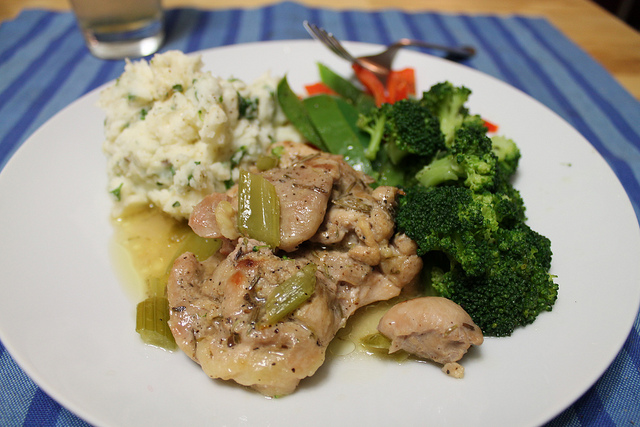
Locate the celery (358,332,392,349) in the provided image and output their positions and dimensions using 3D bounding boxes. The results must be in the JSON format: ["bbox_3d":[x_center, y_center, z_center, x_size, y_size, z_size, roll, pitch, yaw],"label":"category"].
[{"bbox_3d":[0.491,1.160,5.403,0.198,0.057,0.154,4,36,23],"label":"celery"}]

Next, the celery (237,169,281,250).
[{"bbox_3d":[-0.561,-0.038,5.390,0.383,0.216,0.715,-1,78,-7],"label":"celery"}]

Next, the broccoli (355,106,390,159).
[{"bbox_3d":[0.557,-0.893,6.314,0.233,0.575,0.312,14,23,38],"label":"broccoli"}]

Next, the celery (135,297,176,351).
[{"bbox_3d":[-1.461,0.964,5.312,0.403,0.162,0.499,-6,40,-18],"label":"celery"}]

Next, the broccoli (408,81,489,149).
[{"bbox_3d":[1.298,-1.101,6.175,0.740,0.738,0.462,-17,29,-28],"label":"broccoli"}]

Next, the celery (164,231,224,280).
[{"bbox_3d":[-1.225,0.335,5.916,0.576,0.134,0.379,-36,58,-13],"label":"celery"}]

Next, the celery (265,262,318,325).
[{"bbox_3d":[-0.238,0.716,5.254,0.601,0.156,0.257,-39,79,-13],"label":"celery"}]

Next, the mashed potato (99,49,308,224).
[{"bbox_3d":[-1.291,-0.779,6.340,1.729,0.702,1.707,-10,84,-10],"label":"mashed potato"}]

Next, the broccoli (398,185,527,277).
[{"bbox_3d":[1.274,0.123,5.373,0.899,0.512,0.787,20,80,29],"label":"broccoli"}]

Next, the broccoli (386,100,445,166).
[{"bbox_3d":[1.003,-0.837,6.251,0.512,0.546,0.568,-9,86,16],"label":"broccoli"}]

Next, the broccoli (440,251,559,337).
[{"bbox_3d":[1.603,0.731,5.275,0.751,0.267,0.771,-22,69,16],"label":"broccoli"}]
